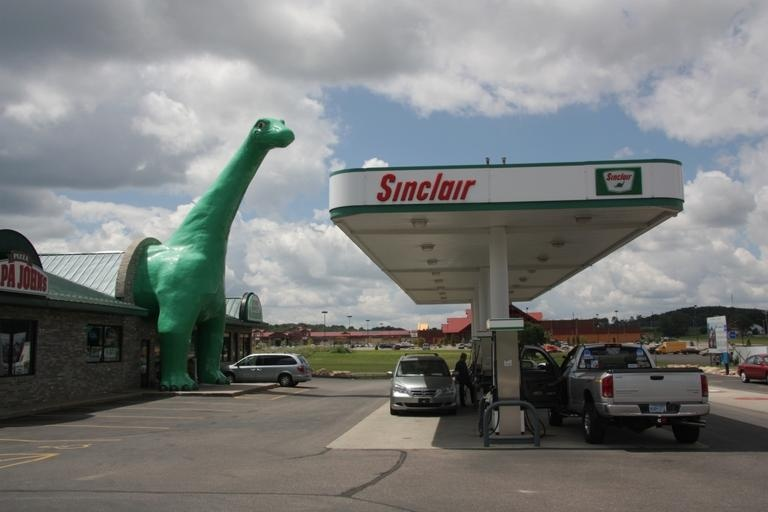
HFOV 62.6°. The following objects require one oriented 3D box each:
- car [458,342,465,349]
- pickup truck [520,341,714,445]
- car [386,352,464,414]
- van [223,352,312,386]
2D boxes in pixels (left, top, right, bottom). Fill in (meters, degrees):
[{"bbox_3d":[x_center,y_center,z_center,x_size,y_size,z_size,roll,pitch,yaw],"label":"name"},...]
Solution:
[{"bbox_3d":[17.186,19.695,138.476,1.203,1.059,2.281,1,0,5],"label":"car"},{"bbox_3d":[6.076,3.558,17.427,2.823,1.835,4.666,1,-2,-11],"label":"pickup truck"},{"bbox_3d":[1.335,4.579,22.245,2.212,1.900,1.830,-1,-8,-1],"label":"car"},{"bbox_3d":[-6.447,6.287,35.351,4.296,1.471,1.923,2,-5,6],"label":"van"}]
